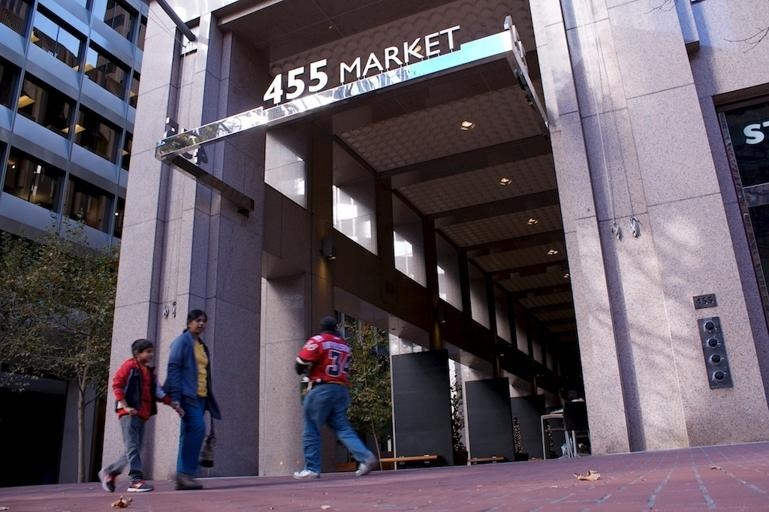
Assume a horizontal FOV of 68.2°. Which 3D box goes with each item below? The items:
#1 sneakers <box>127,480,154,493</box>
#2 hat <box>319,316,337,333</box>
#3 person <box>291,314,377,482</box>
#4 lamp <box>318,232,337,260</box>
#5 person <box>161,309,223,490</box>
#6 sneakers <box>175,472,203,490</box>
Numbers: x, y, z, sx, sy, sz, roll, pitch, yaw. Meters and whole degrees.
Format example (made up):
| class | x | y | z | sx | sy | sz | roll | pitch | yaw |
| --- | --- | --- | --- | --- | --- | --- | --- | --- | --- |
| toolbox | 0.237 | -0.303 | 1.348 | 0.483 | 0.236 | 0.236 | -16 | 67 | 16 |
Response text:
| class | x | y | z | sx | sy | sz | roll | pitch | yaw |
| --- | --- | --- | --- | --- | --- | --- | --- | --- | --- |
| sneakers | -3.039 | 2.901 | 7.056 | 0.362 | 0.150 | 0.131 | -3 | -37 | 15 |
| hat | -0.770 | 0.928 | 7.876 | 0.207 | 0.230 | 0.246 | 14 | -49 | -5 |
| person | -0.726 | 1.908 | 7.797 | 0.921 | 2.136 | 0.858 | -4 | -21 | -3 |
| lamp | -1.701 | -0.373 | 16.756 | 0.319 | 0.850 | 0.526 | -8 | -21 | 9 |
| person | -2.508 | 1.793 | 7.326 | 0.622 | 2.301 | 0.720 | -3 | -21 | -5 |
| sneakers | -2.428 | 2.794 | 7.001 | 0.377 | 0.255 | 0.201 | 3 | -12 | -12 |
